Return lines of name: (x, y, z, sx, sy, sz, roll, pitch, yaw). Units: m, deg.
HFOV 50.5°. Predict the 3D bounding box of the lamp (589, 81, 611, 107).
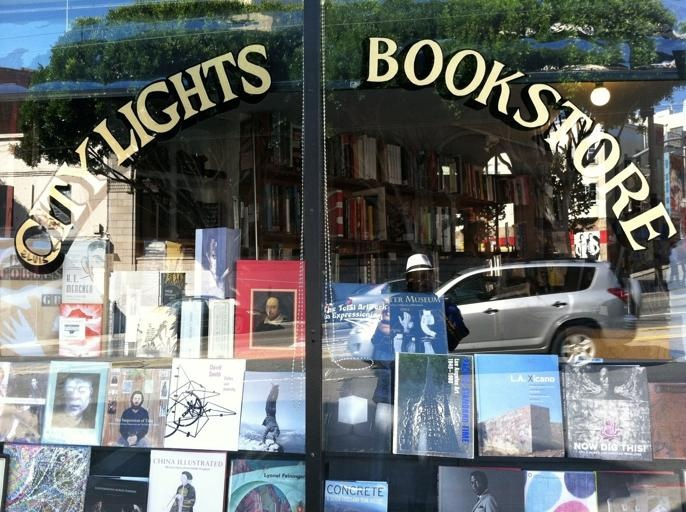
lamp: (1.464, -0.919, 4.154, 0.118, 0.182, 0.122, 5, 9, 38)
